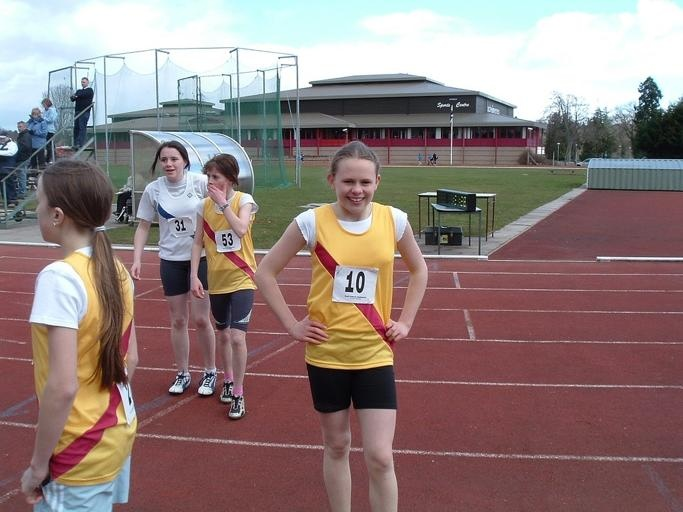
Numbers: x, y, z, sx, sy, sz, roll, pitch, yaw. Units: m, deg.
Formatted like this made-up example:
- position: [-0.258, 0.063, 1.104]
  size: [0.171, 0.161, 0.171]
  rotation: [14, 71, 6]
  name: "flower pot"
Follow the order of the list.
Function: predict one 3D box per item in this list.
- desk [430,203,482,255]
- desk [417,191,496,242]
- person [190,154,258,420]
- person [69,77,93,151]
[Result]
- position: [2.674, -0.600, 13.056]
  size: [1.209, 1.230, 1.117]
  rotation: [-2, 10, -9]
  name: "desk"
- position: [2.920, -0.963, 14.258]
  size: [1.588, 1.106, 0.949]
  rotation: [2, 21, 9]
  name: "desk"
- position: [-0.958, 0.226, 4.716]
  size: [0.612, 2.113, 0.454]
  rotation: [7, 12, 36]
  name: "person"
- position: [-8.781, -4.777, 19.099]
  size: [0.704, 2.391, 0.927]
  rotation: [-5, 11, -24]
  name: "person"
